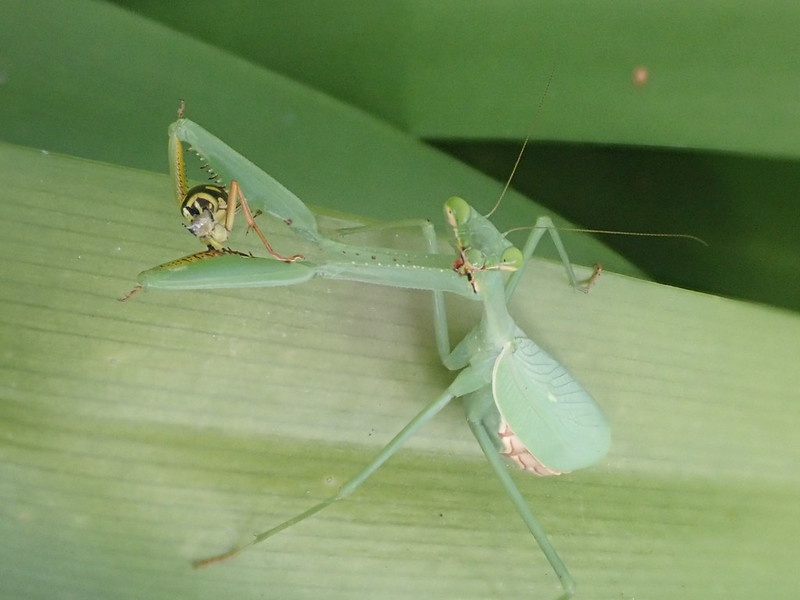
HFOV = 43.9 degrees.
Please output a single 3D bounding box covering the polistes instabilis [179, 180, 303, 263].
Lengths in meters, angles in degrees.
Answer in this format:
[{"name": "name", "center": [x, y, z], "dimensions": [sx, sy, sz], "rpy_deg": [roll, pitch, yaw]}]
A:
[{"name": "polistes instabilis", "center": [-0.427, -0.220, 2.667], "dimensions": [0.366, 0.240, 0.130], "rpy_deg": [0, 85, 34]}]
